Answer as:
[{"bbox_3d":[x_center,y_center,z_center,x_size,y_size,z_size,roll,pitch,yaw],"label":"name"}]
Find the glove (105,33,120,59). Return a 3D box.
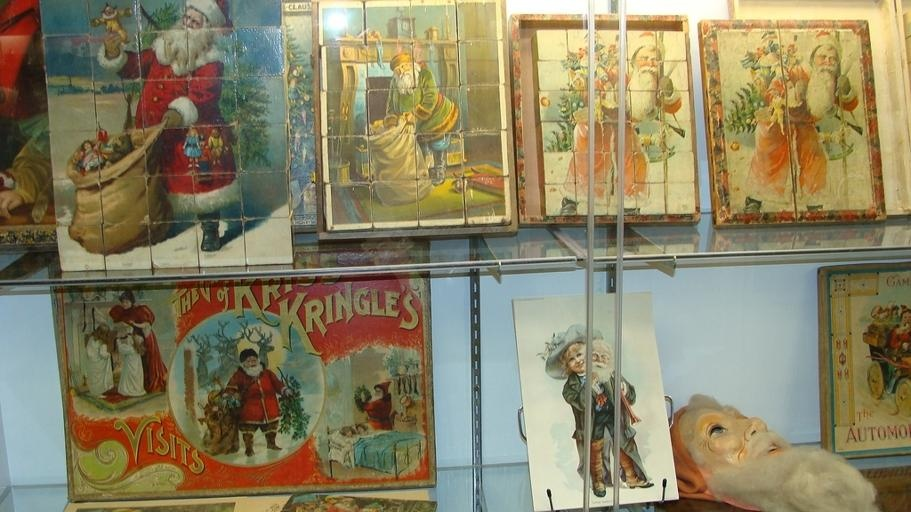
[{"bbox_3d":[-1.048,-0.652,3.565,0.051,0.075,0.024,-5,4,-14],"label":"glove"}]

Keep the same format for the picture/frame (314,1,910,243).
[{"bbox_3d":[0.405,-0.469,3.702,1.724,0.765,0.356,-2,2,-9],"label":"picture/frame"}]
